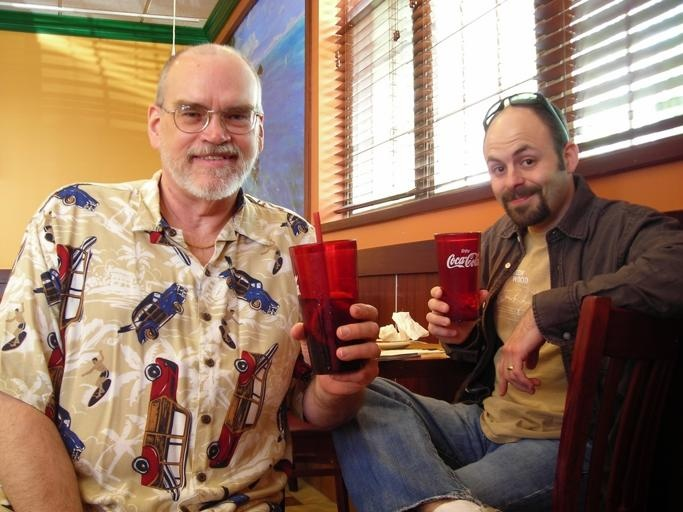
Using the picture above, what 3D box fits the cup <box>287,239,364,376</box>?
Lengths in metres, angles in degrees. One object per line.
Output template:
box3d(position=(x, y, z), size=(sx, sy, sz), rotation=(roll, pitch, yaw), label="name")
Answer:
box3d(position=(-0.030, 0.120, 1.063), size=(0.147, 0.281, 0.104), rotation=(-5, 0, 39), label="cup")

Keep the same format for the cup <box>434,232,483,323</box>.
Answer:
box3d(position=(0.342, 0.063, 1.441), size=(0.131, 0.247, 0.109), rotation=(-6, 0, -7), label="cup")

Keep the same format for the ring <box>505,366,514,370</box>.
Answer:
box3d(position=(0.452, 0.303, 1.360), size=(0.008, 0.011, 0.022), rotation=(-6, 0, -43), label="ring")
